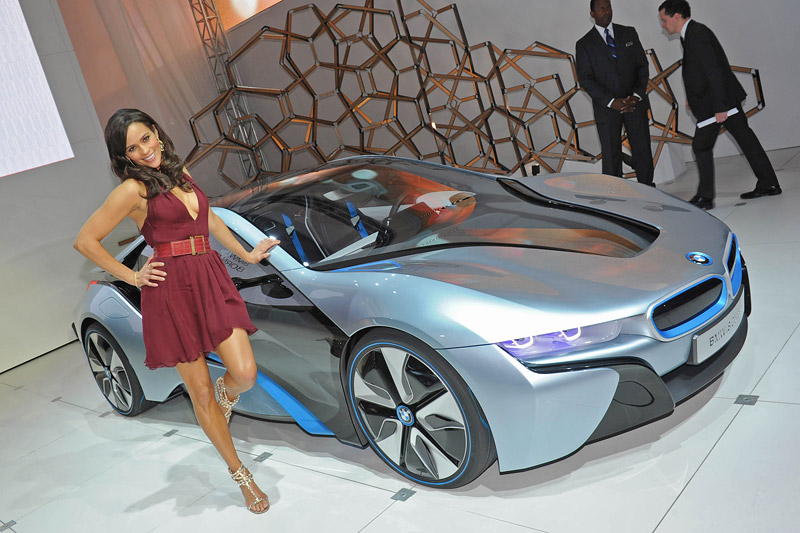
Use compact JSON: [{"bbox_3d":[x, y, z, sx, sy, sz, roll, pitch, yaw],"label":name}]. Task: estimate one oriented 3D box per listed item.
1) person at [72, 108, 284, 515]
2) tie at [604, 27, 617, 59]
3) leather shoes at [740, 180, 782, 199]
[{"bbox_3d":[-1.093,0.256,2.423,0.593,2.059,0.762,-30,33,-36],"label":"person"},{"bbox_3d":[2.349,-2.503,5.146,0.095,0.302,0.171,-16,26,-12],"label":"tie"},{"bbox_3d":[3.749,-0.787,4.710,0.440,0.180,0.149,1,16,17],"label":"leather shoes"}]
